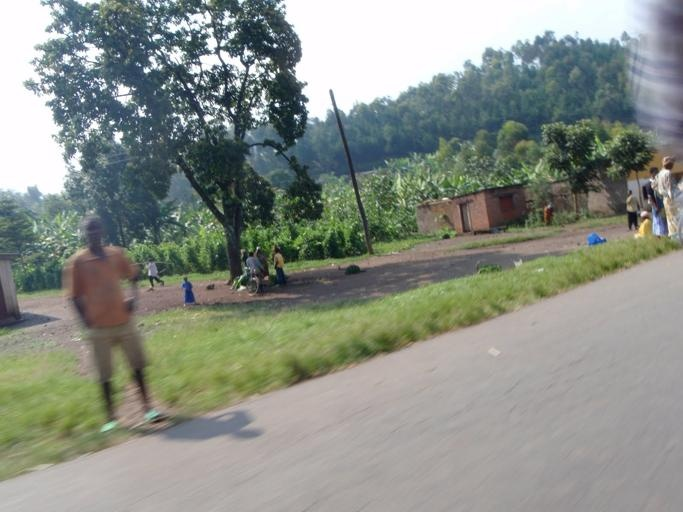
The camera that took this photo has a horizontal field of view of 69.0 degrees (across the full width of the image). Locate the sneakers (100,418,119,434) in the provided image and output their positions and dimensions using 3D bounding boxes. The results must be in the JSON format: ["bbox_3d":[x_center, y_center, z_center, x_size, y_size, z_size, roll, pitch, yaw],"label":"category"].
[{"bbox_3d":[-2.521,1.858,5.398,0.176,0.081,0.278,-11,7,-24],"label":"sneakers"}]

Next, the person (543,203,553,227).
[{"bbox_3d":[12.819,-2.504,30.711,0.552,1.108,1.246,-4,7,22],"label":"person"}]

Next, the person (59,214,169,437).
[{"bbox_3d":[-2.739,0.739,5.830,0.810,1.770,0.596,-10,7,-28],"label":"person"}]
